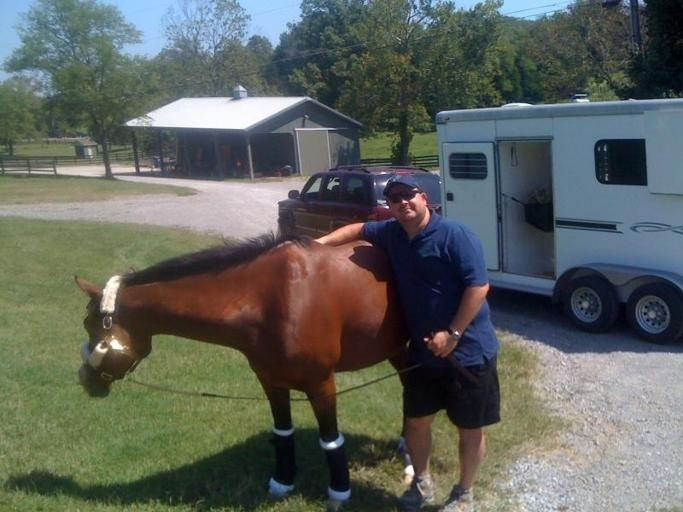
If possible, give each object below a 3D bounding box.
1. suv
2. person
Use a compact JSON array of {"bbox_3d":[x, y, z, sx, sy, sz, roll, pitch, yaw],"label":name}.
[{"bbox_3d":[0.154,-1.102,11.777,1.626,1.381,2.840,-9,16,-36],"label":"suv"},{"bbox_3d":[0.827,0.834,4.825,0.972,3.044,0.585,-6,8,17],"label":"person"}]
